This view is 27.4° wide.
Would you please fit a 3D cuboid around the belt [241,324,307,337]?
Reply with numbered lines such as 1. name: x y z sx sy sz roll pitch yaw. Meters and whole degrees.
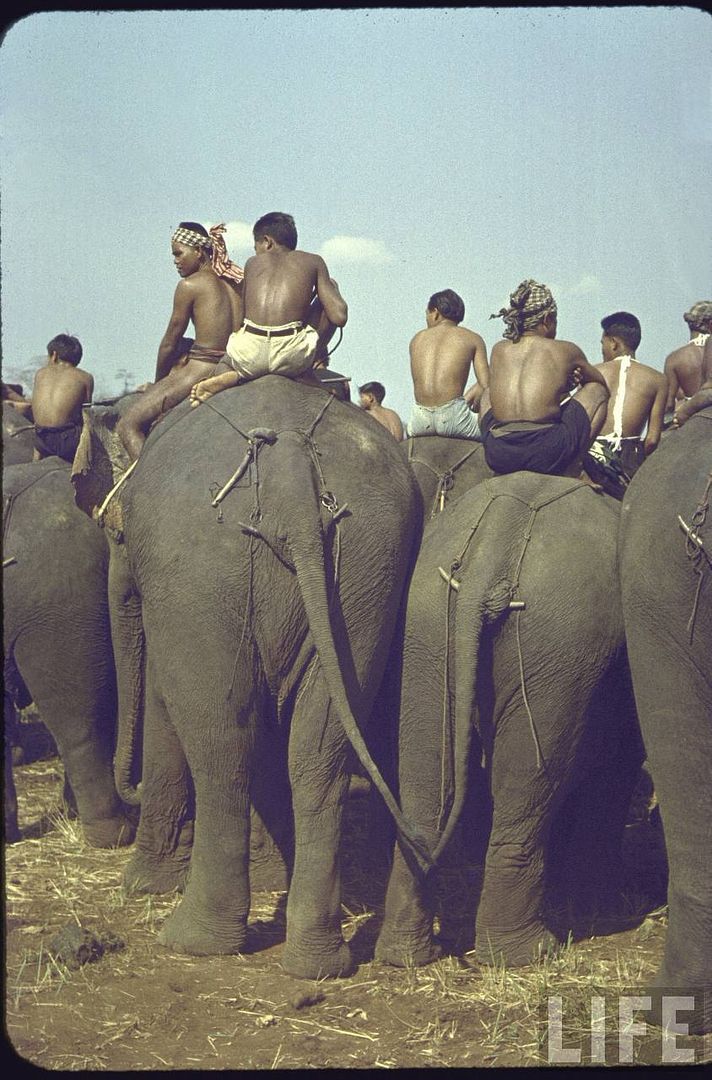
1. belt: -0.314 -0.812 5.607 0.249 0.061 0.147 2 6 -4

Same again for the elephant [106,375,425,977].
1. elephant: -0.300 0.467 5.310 1.084 2.104 0.720 2 6 -2

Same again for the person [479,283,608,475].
1. person: 0.763 -0.662 5.904 0.478 0.791 0.541 3 6 10
